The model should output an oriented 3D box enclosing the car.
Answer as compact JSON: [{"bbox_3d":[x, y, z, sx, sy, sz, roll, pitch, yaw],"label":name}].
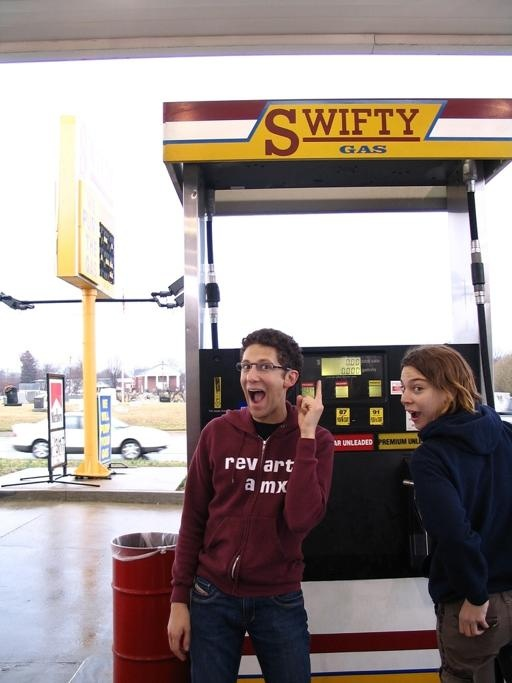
[{"bbox_3d":[-2.440,1.464,8.741,2.160,0.699,0.904,-1,-4,-5],"label":"car"}]
